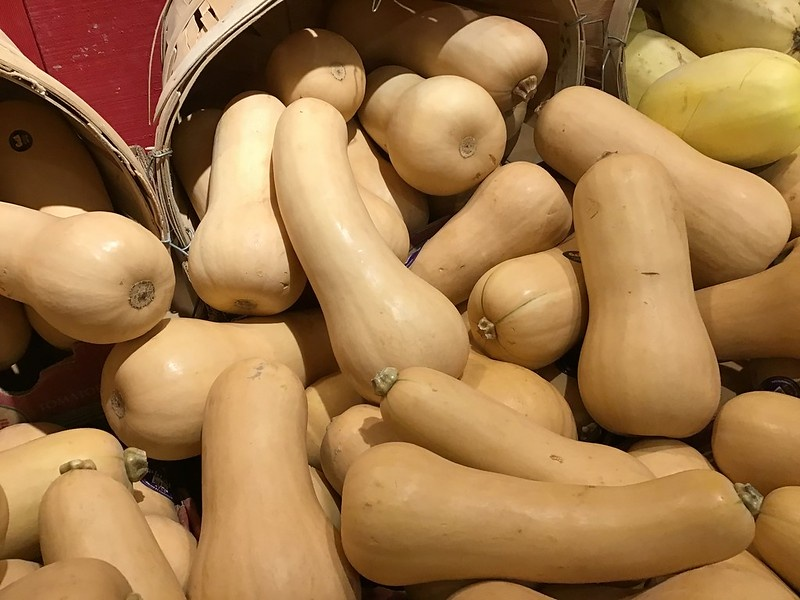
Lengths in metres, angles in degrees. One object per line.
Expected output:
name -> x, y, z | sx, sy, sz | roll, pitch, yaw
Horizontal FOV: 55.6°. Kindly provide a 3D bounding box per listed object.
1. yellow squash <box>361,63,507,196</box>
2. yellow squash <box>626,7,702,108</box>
yellow squash -> 0.043, -0.380, 1.671 | 0.213, 0.265, 0.393 | -7, 24, -30
yellow squash -> 0.571, -0.542, 1.693 | 0.145, 0.191, 0.163 | 4, 93, 5
